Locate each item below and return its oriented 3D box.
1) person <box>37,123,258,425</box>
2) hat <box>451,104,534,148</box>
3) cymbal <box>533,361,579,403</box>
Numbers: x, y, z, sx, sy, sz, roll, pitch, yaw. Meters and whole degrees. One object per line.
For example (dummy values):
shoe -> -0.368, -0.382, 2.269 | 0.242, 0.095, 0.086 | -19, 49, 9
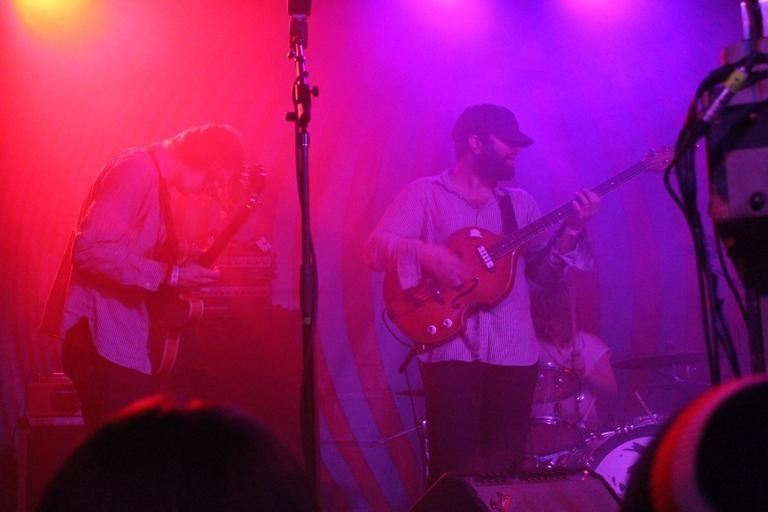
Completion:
person -> -1.406, 0.020, 4.104 | 1.060, 1.796, 0.452 | -2, -3, -44
hat -> 0.735, -0.874, 4.496 | 0.542, 0.281, 0.406 | 4, 10, 12
cymbal -> 1.089, 0.809, 4.320 | 0.289, 0.306, 0.166 | 1, -11, -15
